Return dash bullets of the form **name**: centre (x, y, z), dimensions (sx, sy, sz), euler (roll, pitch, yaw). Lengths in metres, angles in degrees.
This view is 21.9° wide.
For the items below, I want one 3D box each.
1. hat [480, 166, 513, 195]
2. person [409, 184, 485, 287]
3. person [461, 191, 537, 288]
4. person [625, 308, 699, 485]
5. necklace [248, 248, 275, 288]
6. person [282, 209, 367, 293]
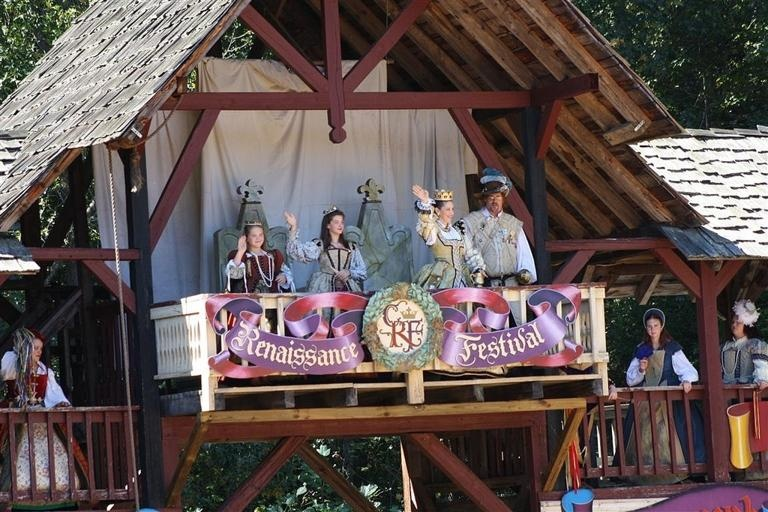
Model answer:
- **hat**: centre (1.663, -1.076, 29.028), dimensions (0.452, 0.412, 0.273), euler (-4, 4, -3)
- **person**: centre (0.894, -0.223, 28.881), dimensions (1.123, 1.807, 0.799), euler (4, -23, -26)
- **person**: centre (1.711, -0.176, 28.940), dimensions (1.209, 1.715, 0.836), euler (1, -8, -35)
- **person**: centre (4.229, 2.140, 29.929), dimensions (1.186, 2.562, 1.097), euler (-2, 4, 16)
- **necklace**: centre (-1.720, 0.194, 28.298), dimensions (0.350, 0.499, 0.156), euler (-2, -4, -16)
- **person**: centre (-0.857, -0.007, 28.846), dimensions (0.942, 1.170, 0.535), euler (7, -19, -31)
